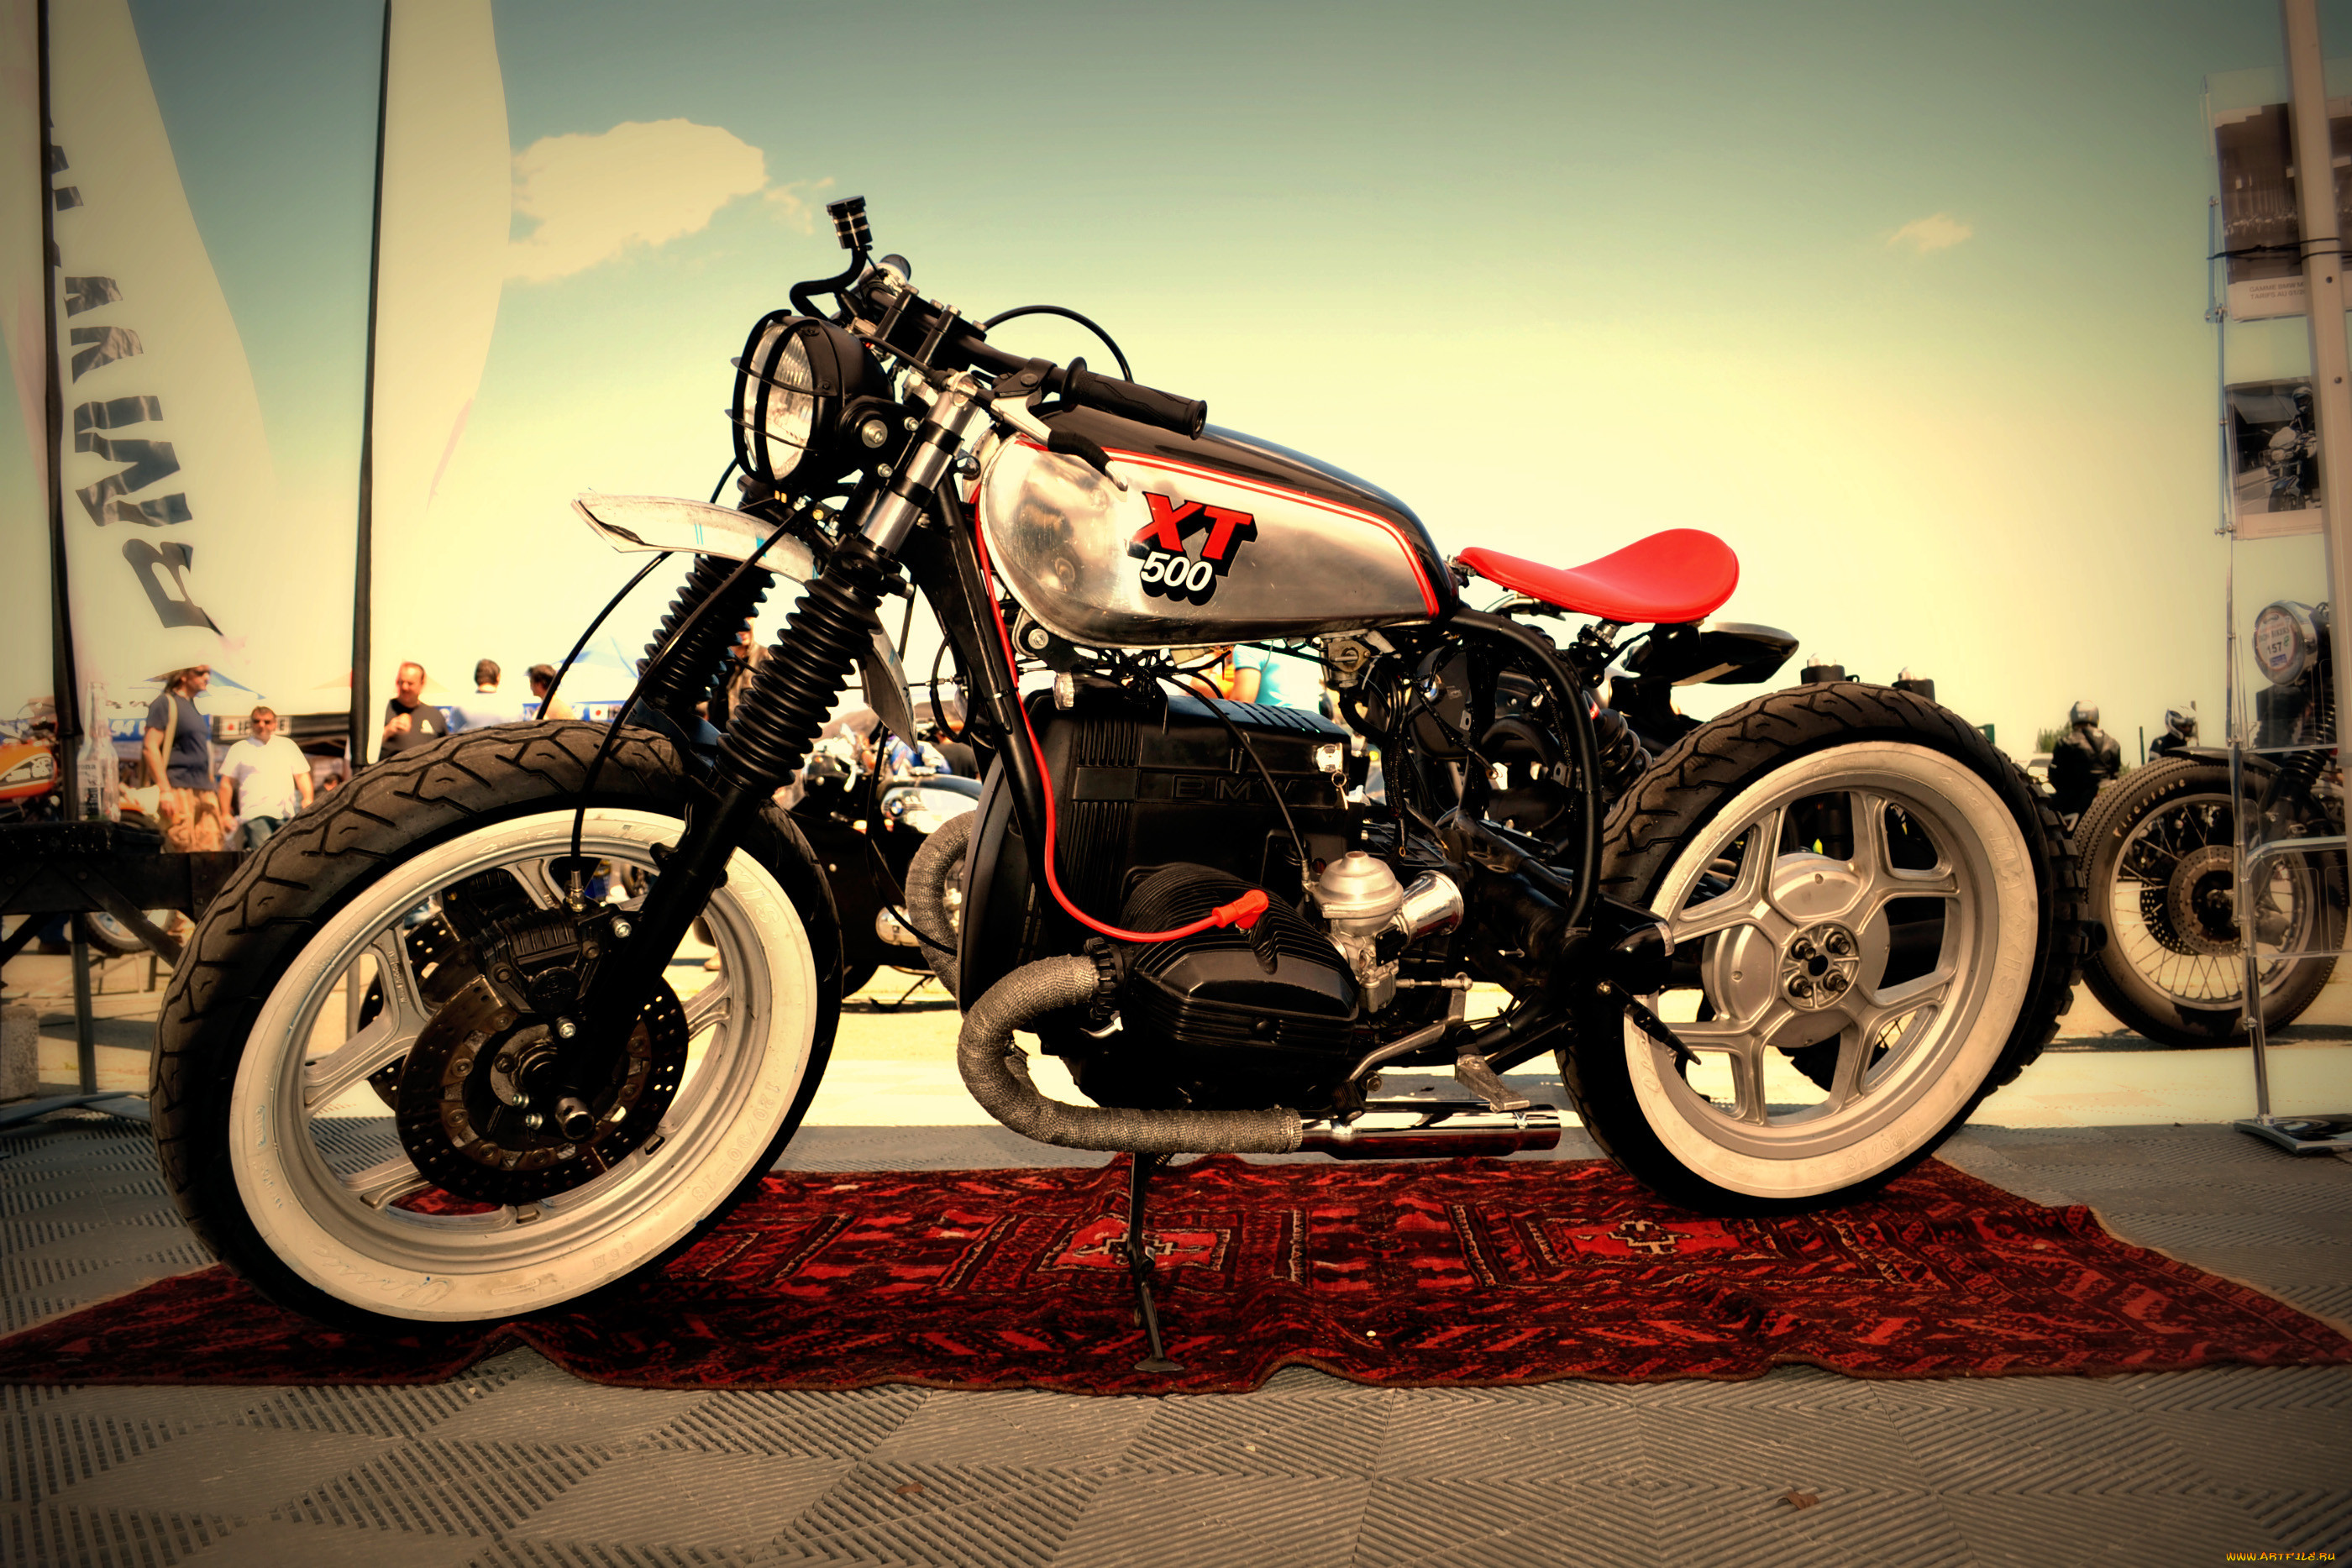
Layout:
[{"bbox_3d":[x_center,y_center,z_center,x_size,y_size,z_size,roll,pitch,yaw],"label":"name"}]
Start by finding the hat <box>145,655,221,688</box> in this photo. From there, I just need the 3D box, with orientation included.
[{"bbox_3d":[-3.610,-0.413,5.876,0.141,0.064,0.105,-8,3,13],"label":"hat"}]

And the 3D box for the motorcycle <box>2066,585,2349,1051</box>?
[{"bbox_3d":[3.032,0.137,4.743,0.720,1.310,1.038,5,6,43],"label":"motorcycle"}]
